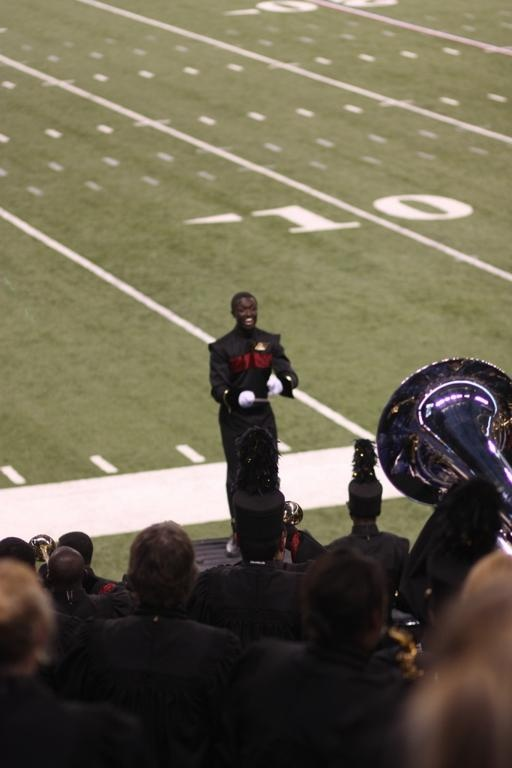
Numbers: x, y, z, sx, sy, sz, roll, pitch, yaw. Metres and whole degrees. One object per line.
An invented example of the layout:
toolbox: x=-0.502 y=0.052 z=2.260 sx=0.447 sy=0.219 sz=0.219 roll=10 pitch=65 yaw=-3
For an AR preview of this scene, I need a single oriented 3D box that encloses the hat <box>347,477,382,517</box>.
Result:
hat: x=0.514 y=0.550 z=7.266 sx=0.156 sy=0.124 sz=0.176 roll=0 pitch=32 yaw=0
